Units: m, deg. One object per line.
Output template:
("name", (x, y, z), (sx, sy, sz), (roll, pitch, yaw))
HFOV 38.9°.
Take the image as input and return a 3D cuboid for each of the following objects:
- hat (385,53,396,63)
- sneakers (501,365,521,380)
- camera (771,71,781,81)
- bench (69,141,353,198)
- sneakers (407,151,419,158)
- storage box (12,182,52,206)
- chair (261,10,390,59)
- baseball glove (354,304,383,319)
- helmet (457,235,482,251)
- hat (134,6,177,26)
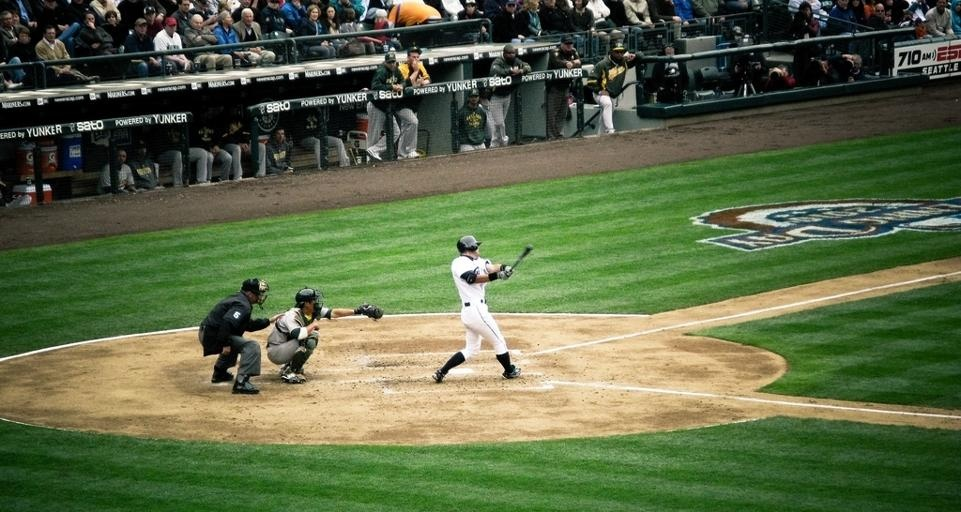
("hat", (-2.692, -5.978, 40.779), (0.312, 0.330, 0.386), (-7, 7, -7))
("sneakers", (0.723, 2.595, 30.491), (0.528, 0.250, 0.204), (-12, 41, 4))
("camera", (9.509, -5.865, 43.904), (0.338, 0.198, 0.263), (5, 0, 6))
("bench", (-9.158, -2.547, 38.979), (4.448, 1.326, 0.768), (-7, 7, -32))
("sneakers", (-2.062, -3.118, 41.487), (0.362, 0.088, 0.387), (-1, -3, -3))
("storage box", (-12.366, -1.726, 37.825), (1.170, 0.483, 0.820), (-3, 7, -43))
("chair", (-4.952, -6.939, 42.605), (2.604, 0.726, 1.405), (13, -35, -41))
("baseball glove", (-2.521, 1.198, 30.065), (0.560, 0.189, 0.390), (-2, -24, 40))
("helmet", (-0.273, -0.296, 30.376), (0.627, 0.213, 0.368), (-7, 5, -6))
("hat", (-9.784, -7.308, 41.148), (0.886, 0.376, 0.933), (-6, 18, -20))
